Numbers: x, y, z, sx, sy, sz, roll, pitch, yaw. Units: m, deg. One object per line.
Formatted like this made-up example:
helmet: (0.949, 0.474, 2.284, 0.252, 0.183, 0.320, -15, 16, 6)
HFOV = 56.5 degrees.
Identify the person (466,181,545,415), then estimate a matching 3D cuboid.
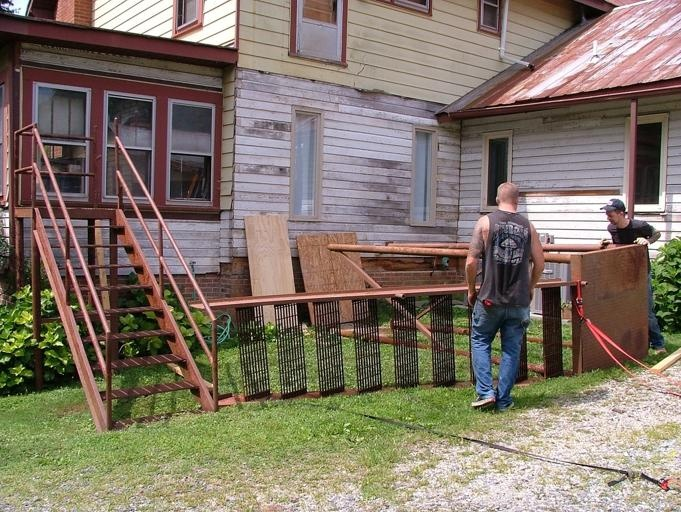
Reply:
person: (1.655, 0.552, 6.404, 0.767, 2.013, 0.470, 1, 7, 4)

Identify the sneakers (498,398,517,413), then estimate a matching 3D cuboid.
sneakers: (1.708, 1.527, 6.466, 0.078, 0.095, 0.236, 1, -2, 36)

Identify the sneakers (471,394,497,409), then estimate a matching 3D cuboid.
sneakers: (1.438, 1.453, 6.325, 0.107, 0.118, 0.287, 4, -7, -35)

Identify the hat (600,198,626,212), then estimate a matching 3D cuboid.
hat: (3.758, -0.699, 8.702, 0.324, 0.165, 0.180, -2, 7, -19)
